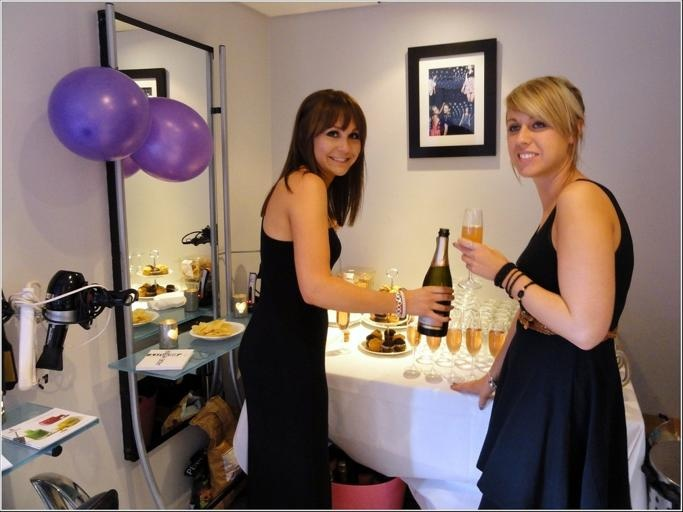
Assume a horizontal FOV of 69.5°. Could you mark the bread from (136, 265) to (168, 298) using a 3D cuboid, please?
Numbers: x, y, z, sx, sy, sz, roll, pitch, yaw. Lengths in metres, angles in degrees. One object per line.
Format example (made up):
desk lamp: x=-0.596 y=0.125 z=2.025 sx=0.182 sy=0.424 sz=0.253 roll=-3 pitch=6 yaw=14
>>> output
bread: x=-1.021 y=0.139 z=2.671 sx=0.135 sy=0.146 sz=0.144 roll=0 pitch=3 yaw=-5

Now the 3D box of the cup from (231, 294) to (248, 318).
cup: x=-0.624 y=0.305 z=3.027 sx=0.106 sy=0.142 sz=0.119 roll=0 pitch=2 yaw=0

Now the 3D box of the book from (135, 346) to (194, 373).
book: x=-0.861 y=0.504 z=2.431 sx=0.231 sy=0.051 sz=0.253 roll=-1 pitch=5 yaw=-2

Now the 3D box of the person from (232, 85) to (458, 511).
person: x=-0.078 y=0.215 z=2.133 sx=0.718 sy=1.828 sz=0.476 roll=-2 pitch=5 yaw=-15

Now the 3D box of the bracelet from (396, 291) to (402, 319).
bracelet: x=0.234 y=0.193 z=1.990 sx=0.026 sy=0.089 sz=0.066 roll=-3 pitch=6 yaw=-1

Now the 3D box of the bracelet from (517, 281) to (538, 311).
bracelet: x=0.678 y=0.149 z=1.776 sx=0.027 sy=0.103 sz=0.090 roll=5 pitch=-14 yaw=14

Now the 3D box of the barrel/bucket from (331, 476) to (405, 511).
barrel/bucket: x=0.134 y=1.189 z=2.457 sx=0.238 sy=0.090 sz=0.203 roll=-1 pitch=-15 yaw=7

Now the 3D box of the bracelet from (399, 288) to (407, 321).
bracelet: x=0.239 y=0.194 z=1.990 sx=0.026 sy=0.092 sz=0.078 roll=-3 pitch=6 yaw=-4

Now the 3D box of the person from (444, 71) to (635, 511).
person: x=0.770 y=0.163 z=1.851 sx=0.592 sy=1.649 sz=0.359 roll=3 pitch=6 yaw=34

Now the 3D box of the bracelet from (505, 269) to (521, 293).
bracelet: x=0.610 y=0.094 z=1.801 sx=0.018 sy=0.072 sz=0.073 roll=20 pitch=49 yaw=23

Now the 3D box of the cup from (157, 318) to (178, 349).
cup: x=-0.910 y=0.402 z=2.611 sx=0.117 sy=0.150 sz=0.125 roll=2 pitch=6 yaw=0

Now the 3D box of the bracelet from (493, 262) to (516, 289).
bracelet: x=0.589 y=0.063 z=1.826 sx=0.030 sy=0.089 sz=0.085 roll=29 pitch=40 yaw=29

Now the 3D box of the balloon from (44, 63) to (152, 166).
balloon: x=-1.064 y=-0.587 z=2.091 sx=0.284 sy=0.368 sz=0.297 roll=3 pitch=15 yaw=-26

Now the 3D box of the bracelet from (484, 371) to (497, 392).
bracelet: x=0.635 y=0.540 z=2.102 sx=0.026 sy=0.066 sz=0.047 roll=2 pitch=-12 yaw=3

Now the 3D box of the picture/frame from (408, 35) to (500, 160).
picture/frame: x=0.726 y=-1.021 z=3.108 sx=0.715 sy=0.978 sz=0.062 roll=1 pitch=4 yaw=20
